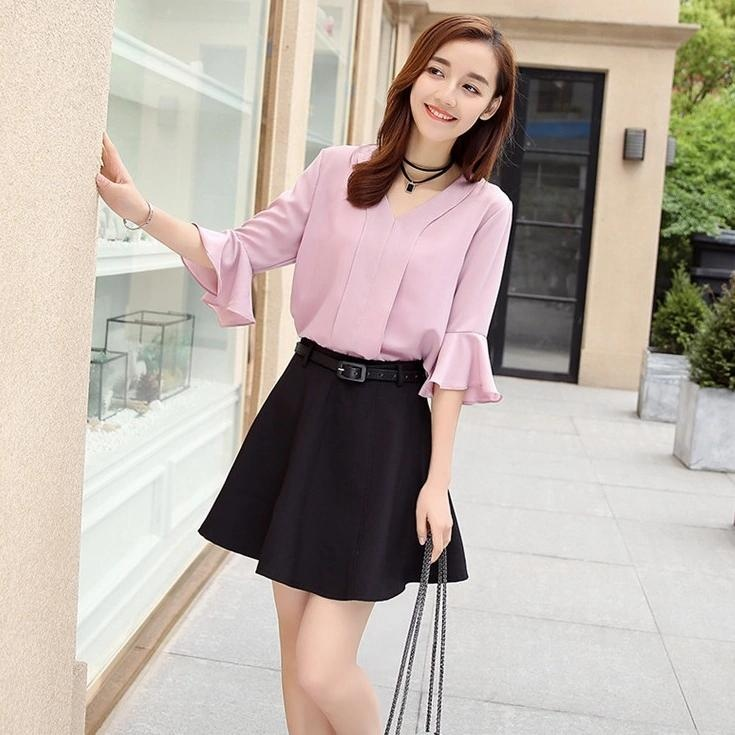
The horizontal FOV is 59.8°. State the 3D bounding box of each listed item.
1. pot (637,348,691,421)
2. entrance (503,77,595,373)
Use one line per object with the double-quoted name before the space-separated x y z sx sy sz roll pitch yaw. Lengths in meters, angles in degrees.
"pot" 2.629 0.223 5.881 0.417 0.566 0.441 8 0 0
"entrance" 1.976 -1.569 7.071 1.019 3.369 0.129 4 4 1
